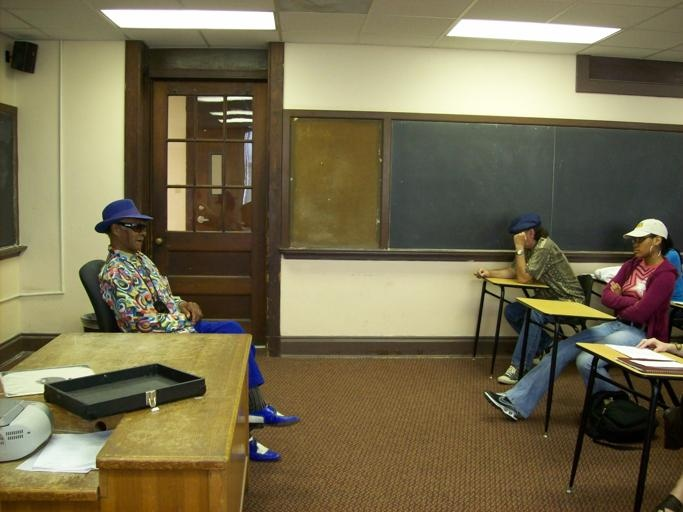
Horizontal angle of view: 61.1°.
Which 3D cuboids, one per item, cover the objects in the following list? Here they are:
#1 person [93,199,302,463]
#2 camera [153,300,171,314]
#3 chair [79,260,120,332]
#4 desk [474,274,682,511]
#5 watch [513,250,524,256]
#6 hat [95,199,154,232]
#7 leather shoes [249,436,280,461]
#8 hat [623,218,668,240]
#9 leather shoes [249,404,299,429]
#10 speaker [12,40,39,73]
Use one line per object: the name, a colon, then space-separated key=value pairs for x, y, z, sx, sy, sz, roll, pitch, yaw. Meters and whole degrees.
person: x=-1.163 y=0.500 z=4.108 sx=1.253 sy=1.734 sz=0.727 roll=3 pitch=12 yaw=11
camera: x=-1.282 y=0.372 z=4.095 sx=0.080 sy=0.085 sz=0.058 roll=2 pitch=5 yaw=-16
chair: x=-1.666 y=0.289 z=3.985 sx=0.212 sy=0.460 sz=0.361 roll=-5 pitch=14 yaw=-26
desk: x=1.868 y=0.899 z=3.902 sx=0.843 sy=1.109 sz=1.154 roll=8 pitch=0 yaw=35
watch: x=1.716 y=-0.033 z=5.593 sx=0.055 sy=0.026 sz=0.061 roll=-4 pitch=22 yaw=2
hat: x=-1.593 y=-0.235 z=4.096 sx=0.303 sy=0.130 sz=0.278 roll=-24 pitch=-2 yaw=7
leather shoes: x=-0.499 y=1.352 z=4.012 sx=0.301 sy=0.117 sz=0.104 roll=5 pitch=4 yaw=6
hat: x=2.367 y=-0.197 z=4.489 sx=0.304 sy=0.159 sz=0.218 roll=2 pitch=-2 yaw=6
leather shoes: x=-0.498 y=1.232 z=4.392 sx=0.411 sy=0.144 sz=0.148 roll=1 pitch=-3 yaw=-17
speaker: x=-3.017 y=-1.913 z=5.516 sx=0.158 sy=0.284 sz=0.283 roll=5 pitch=4 yaw=2
